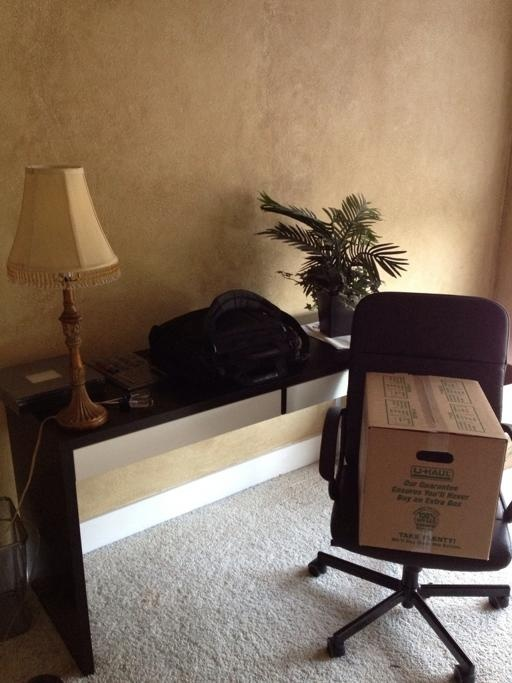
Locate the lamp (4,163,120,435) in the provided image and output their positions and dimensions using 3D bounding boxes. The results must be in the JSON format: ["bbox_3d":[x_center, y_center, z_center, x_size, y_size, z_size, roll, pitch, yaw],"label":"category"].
[{"bbox_3d":[-0.490,-0.103,1.498,0.258,0.674,0.197,-10,21,-36],"label":"lamp"}]

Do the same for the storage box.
[{"bbox_3d":[0.485,0.345,1.646,0.383,0.405,0.405,6,17,10],"label":"storage box"}]

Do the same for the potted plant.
[{"bbox_3d":[0.271,-0.343,2.429,0.737,0.644,0.559,-5,18,-15],"label":"potted plant"}]

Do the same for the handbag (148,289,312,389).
[{"bbox_3d":[-0.083,0.003,1.896,0.318,0.192,0.414,-10,7,-29],"label":"handbag"}]
